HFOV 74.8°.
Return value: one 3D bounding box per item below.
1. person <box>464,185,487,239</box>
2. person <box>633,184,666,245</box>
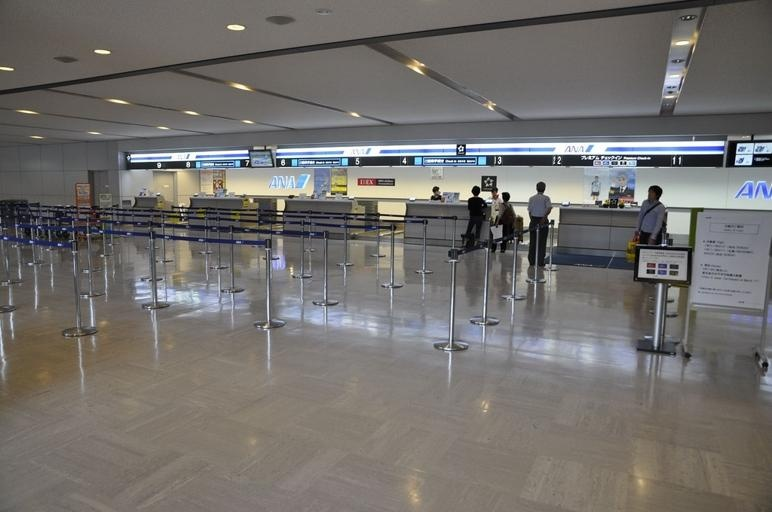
[{"bbox_3d":[2.459,-1.151,13.951,0.552,1.521,1.115,1,8,11],"label":"person"},{"bbox_3d":[4.603,-0.716,8.816,0.443,1.010,0.968,3,8,25],"label":"person"}]
